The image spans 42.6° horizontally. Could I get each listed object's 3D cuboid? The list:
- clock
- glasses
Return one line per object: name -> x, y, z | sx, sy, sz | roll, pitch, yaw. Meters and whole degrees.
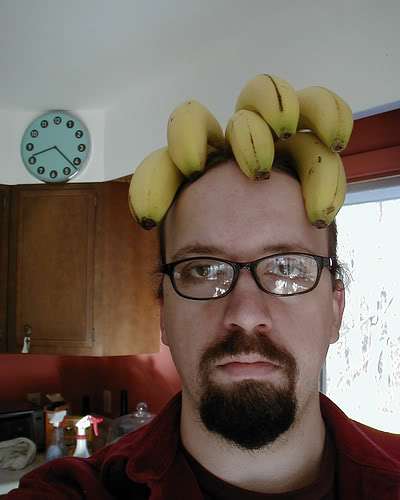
clock -> -0.659, -0.471, 2.379 | 0.416, 0.399, 0.059 | -1, -18, 4
glasses -> 0.092, 0.055, 1.033 | 0.339, 0.094, 0.093 | 0, -4, -2
